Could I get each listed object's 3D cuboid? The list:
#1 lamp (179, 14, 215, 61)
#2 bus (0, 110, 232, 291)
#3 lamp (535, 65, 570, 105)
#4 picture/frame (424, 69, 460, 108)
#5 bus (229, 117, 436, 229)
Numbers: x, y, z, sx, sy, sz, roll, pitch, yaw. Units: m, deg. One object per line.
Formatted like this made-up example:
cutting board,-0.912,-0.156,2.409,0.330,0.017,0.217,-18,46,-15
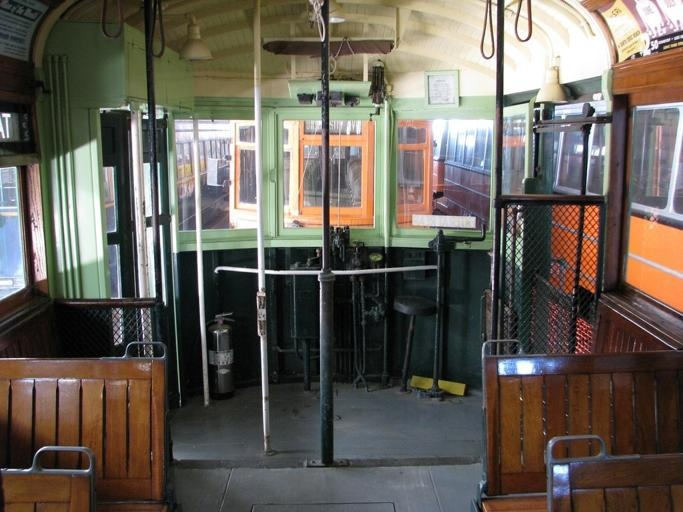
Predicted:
lamp,-1.624,-2.436,6.957,0.353,0.491,0.345,1,11,18
bus,-2.692,-0.665,7.354,0.187,2.764,2.329,4,8,19
lamp,2.331,-1.861,6.917,0.396,0.431,0.409,2,11,19
picture/frame,1.524,-2.507,9.317,0.566,0.601,0.042,0,5,7
bus,-0.105,-1.414,9.654,3.308,2.006,0.109,-2,6,-14
